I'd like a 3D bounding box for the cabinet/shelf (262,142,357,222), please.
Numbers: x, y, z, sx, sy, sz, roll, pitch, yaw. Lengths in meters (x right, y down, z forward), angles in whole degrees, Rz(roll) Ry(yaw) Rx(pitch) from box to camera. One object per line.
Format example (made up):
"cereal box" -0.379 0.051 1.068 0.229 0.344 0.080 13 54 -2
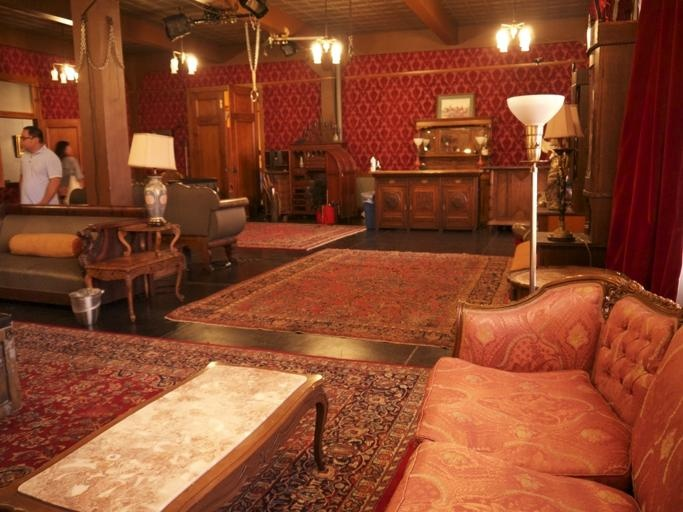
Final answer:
"cabinet/shelf" -0.677 -1.825 11.685 2.250 1.669 1.159 8 14 33

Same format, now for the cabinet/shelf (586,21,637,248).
"cabinet/shelf" 2.218 -1.029 4.095 0.254 1.860 0.477 -6 11 -10

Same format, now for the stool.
"stool" -2.176 0.283 5.156 1.024 0.559 0.629 3 17 42

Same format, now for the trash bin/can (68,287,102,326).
"trash bin/can" -2.378 0.470 4.561 0.225 0.318 0.403 -7 10 -18

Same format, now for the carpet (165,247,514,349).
"carpet" 0.264 0.331 5.555 3.243 0.028 2.903 0 16 23

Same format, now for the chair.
"chair" -2.096 -0.505 7.130 1.273 1.458 1.154 5 12 19

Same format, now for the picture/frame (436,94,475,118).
"picture/frame" 2.534 -3.312 10.649 0.699 0.462 0.054 2 6 18

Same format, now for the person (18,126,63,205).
"person" -3.874 -1.159 6.180 0.568 0.947 0.271 2 12 29
